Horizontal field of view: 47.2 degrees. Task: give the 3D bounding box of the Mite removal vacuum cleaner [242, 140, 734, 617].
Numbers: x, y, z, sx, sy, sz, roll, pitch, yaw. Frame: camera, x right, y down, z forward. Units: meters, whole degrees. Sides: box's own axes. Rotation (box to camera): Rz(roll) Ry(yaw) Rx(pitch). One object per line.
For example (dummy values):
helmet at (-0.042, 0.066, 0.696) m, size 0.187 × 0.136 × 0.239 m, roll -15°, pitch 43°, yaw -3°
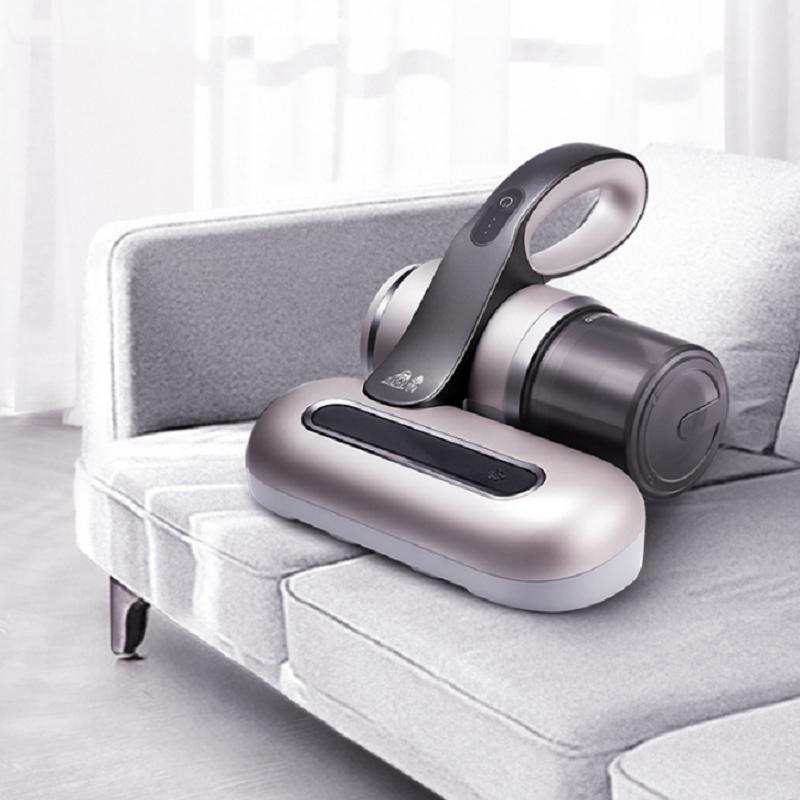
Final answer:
Mite removal vacuum cleaner at (0.052, -0.038, 0.728) m, size 0.397 × 0.226 × 0.343 m, roll 1°, pitch 34°, yaw 14°
